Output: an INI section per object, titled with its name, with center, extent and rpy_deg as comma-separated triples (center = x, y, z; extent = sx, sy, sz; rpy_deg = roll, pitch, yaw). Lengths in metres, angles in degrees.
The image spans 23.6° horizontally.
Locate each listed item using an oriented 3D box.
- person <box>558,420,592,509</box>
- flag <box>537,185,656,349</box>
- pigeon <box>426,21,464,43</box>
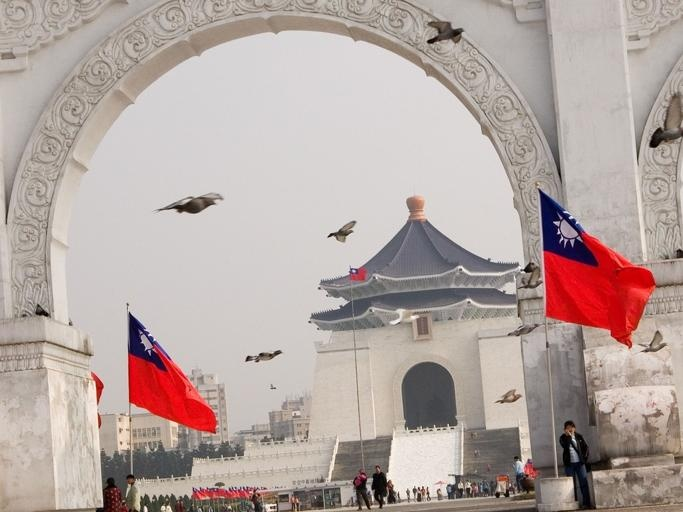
[person]
center = 2.417, 2.140, 16.651
extent = 0.289, 0.938, 0.308
rpy_deg = -9, -16, 8
[flag]
center = 2.648, 0.134, 16.693
extent = 1.456, 1.953, 0.343
rpy_deg = 9, -27, -9
[pigeon]
center = 1.097, -2.349, 17.310
extent = 0.273, 0.268, 0.109
rpy_deg = -10, -13, 4
